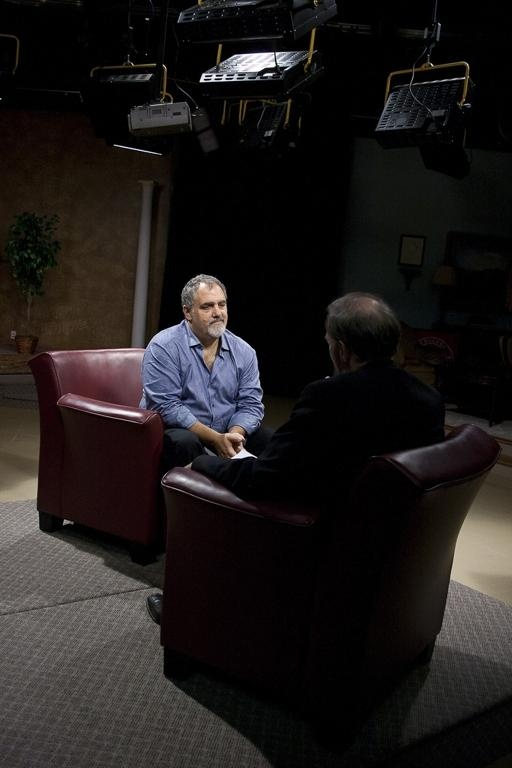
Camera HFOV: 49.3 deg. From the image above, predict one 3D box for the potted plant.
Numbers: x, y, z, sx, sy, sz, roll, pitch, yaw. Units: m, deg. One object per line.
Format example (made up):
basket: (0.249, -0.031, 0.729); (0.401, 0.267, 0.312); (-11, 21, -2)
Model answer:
potted plant: (-2.633, -1.222, 6.443); (0.682, 1.714, 1.420); (3, 6, -20)

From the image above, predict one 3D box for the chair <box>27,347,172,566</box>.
chair: (-0.572, 0.289, 2.725); (0.859, 0.806, 0.921); (6, 5, 11)

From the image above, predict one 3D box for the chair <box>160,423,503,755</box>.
chair: (0.219, 0.472, 1.611); (0.945, 0.690, 0.968); (1, 2, -16)

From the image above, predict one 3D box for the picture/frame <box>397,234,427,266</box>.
picture/frame: (1.829, -1.602, 6.647); (0.331, 0.422, 0.053); (5, -3, -3)
